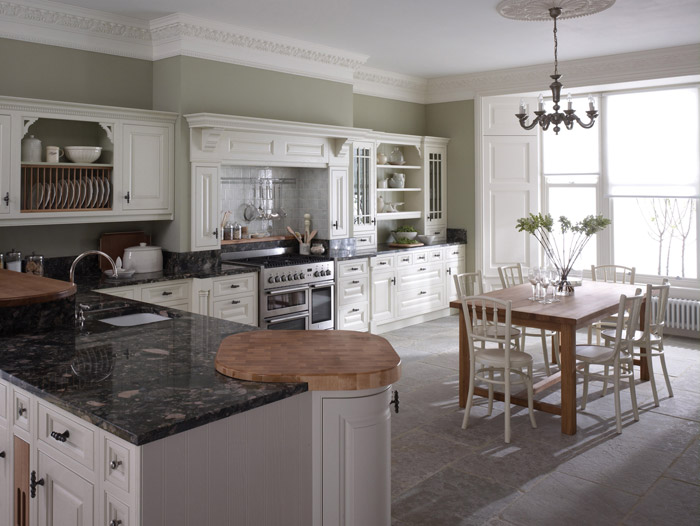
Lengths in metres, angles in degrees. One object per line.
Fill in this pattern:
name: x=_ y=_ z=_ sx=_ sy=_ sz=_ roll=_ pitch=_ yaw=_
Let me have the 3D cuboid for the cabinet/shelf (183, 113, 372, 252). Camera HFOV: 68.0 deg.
cabinet/shelf: x=-0.737 y=-0.883 z=5.805 sx=2.019 sy=1.358 sz=0.395 roll=-9 pitch=11 yaw=-44

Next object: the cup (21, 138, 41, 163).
cup: x=-2.688 y=-0.978 z=4.505 sx=0.141 sy=0.199 sz=0.145 roll=-1 pitch=8 yaw=0

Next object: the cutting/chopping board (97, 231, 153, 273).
cutting/chopping board: x=-2.157 y=-0.099 z=5.103 sx=0.057 sy=0.348 sz=0.443 roll=0 pitch=2 yaw=42

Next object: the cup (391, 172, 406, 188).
cup: x=0.792 y=-1.242 z=7.752 sx=0.247 sy=0.232 sz=0.191 roll=-4 pitch=7 yaw=-31

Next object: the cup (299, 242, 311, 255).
cup: x=-0.507 y=-0.175 z=6.494 sx=0.158 sy=0.111 sz=0.118 roll=2 pitch=2 yaw=23

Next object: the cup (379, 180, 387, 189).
cup: x=0.534 y=-1.147 z=7.588 sx=0.145 sy=0.115 sz=0.109 roll=2 pitch=2 yaw=7

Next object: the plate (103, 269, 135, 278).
plate: x=-2.079 y=0.102 z=4.830 sx=0.311 sy=0.059 sz=0.301 roll=0 pitch=1 yaw=1

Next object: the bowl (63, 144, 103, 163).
bowl: x=-2.407 y=-1.001 z=4.810 sx=0.224 sy=0.109 sz=0.221 roll=-2 pitch=6 yaw=0

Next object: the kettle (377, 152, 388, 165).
kettle: x=0.516 y=-1.515 z=7.563 sx=0.166 sy=0.123 sz=0.179 roll=-1 pitch=0 yaw=7

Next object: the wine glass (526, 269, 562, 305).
wine glass: x=1.807 y=0.207 z=4.809 sx=0.333 sy=0.351 sz=0.325 roll=-3 pitch=3 yaw=-35

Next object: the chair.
chair: x=2.029 y=0.743 z=4.809 sx=2.322 sy=1.008 sz=1.244 roll=-8 pitch=11 yaw=-41

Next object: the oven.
oven: x=-0.610 y=0.542 z=6.006 sx=0.542 sy=0.617 sz=1.052 roll=2 pitch=4 yaw=42

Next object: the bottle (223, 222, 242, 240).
bottle: x=-1.276 y=-0.353 z=5.919 sx=0.227 sy=0.202 sz=0.132 roll=-3 pitch=6 yaw=-36

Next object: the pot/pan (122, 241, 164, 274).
pot/pan: x=-1.989 y=-0.051 z=5.185 sx=0.316 sy=0.228 sz=0.306 roll=0 pitch=0 yaw=17

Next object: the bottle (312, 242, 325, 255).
bottle: x=-0.333 y=-0.182 z=6.439 sx=0.144 sy=0.104 sz=0.137 roll=0 pitch=-1 yaw=0
